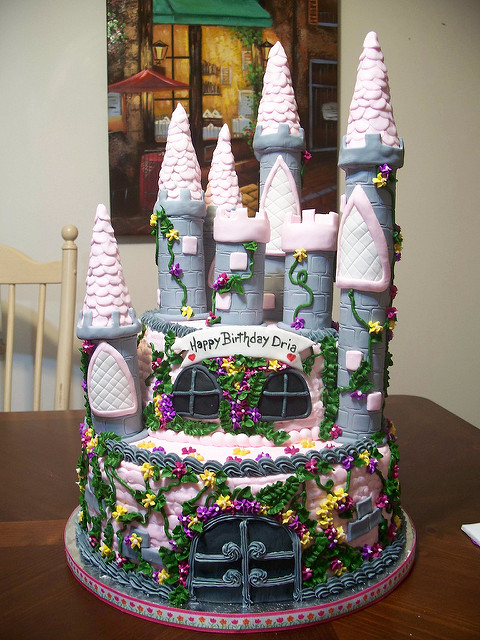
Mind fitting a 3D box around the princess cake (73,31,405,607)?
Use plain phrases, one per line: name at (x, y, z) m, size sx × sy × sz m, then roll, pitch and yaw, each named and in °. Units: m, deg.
princess cake at (0.024, -0.036, 2.159) m, size 0.713 × 1.290 × 0.729 m, roll -11°, pitch 18°, yaw -44°
